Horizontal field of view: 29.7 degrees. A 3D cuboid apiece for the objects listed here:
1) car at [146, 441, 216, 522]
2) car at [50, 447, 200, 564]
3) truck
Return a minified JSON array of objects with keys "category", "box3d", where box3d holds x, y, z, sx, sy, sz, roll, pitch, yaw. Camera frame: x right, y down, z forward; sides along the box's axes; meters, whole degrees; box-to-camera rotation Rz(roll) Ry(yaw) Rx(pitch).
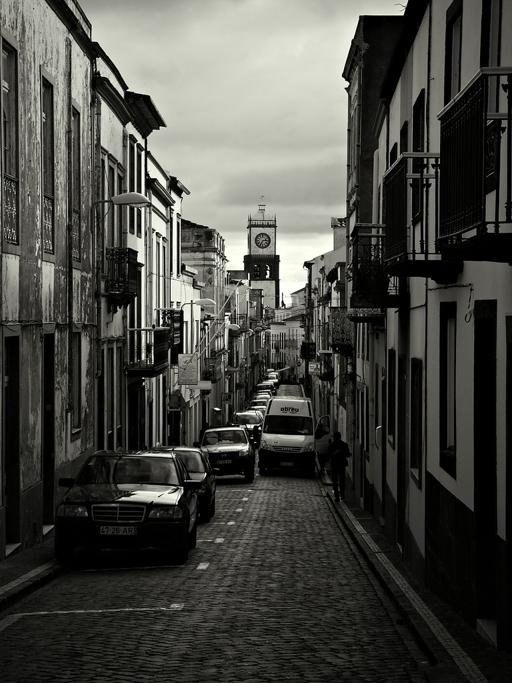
[{"category":"car","box3d":[-1.163,2.597,17.795,0.703,1.193,1.866,0,-7,3]},{"category":"car","box3d":[-1.601,2.120,11.940,1.642,1.234,2.168,-2,0,-10]},{"category":"truck","box3d":[1.213,3.458,33.296,1.375,2.943,3.921,0,-6,2]}]
